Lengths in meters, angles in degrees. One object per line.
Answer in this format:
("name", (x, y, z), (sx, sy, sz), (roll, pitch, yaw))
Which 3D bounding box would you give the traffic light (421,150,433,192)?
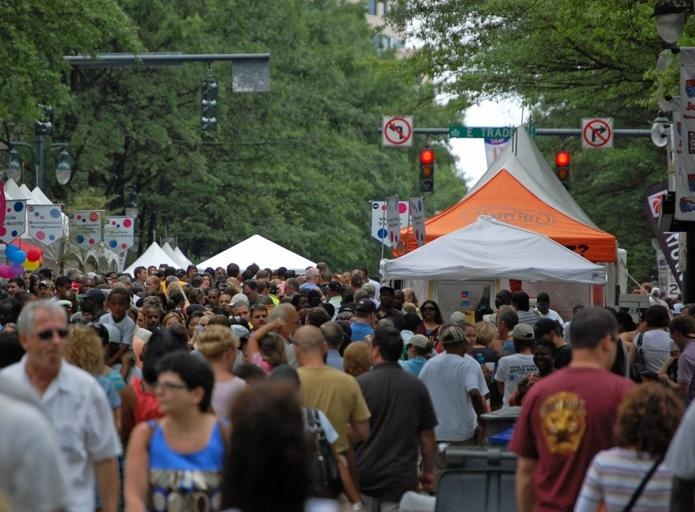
("traffic light", (1.909, -2.175, 36.295), (0.315, 1.136, 0.856), (2, -3, 1))

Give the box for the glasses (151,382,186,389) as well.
("glasses", (-2.197, 1.577, 18.690), (0.391, 0.102, 0.064), (1, -3, 7))

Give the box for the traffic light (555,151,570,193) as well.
("traffic light", (5.128, -2.167, 35.877), (0.305, 0.986, 0.785), (2, -3, 6))

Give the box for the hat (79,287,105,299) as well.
("hat", (-4.164, 0.574, 24.390), (0.364, 0.184, 0.256), (1, -2, 6))

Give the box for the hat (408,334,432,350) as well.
("hat", (1.065, 1.251, 22.611), (0.261, 0.144, 0.186), (1, 0, 13))
